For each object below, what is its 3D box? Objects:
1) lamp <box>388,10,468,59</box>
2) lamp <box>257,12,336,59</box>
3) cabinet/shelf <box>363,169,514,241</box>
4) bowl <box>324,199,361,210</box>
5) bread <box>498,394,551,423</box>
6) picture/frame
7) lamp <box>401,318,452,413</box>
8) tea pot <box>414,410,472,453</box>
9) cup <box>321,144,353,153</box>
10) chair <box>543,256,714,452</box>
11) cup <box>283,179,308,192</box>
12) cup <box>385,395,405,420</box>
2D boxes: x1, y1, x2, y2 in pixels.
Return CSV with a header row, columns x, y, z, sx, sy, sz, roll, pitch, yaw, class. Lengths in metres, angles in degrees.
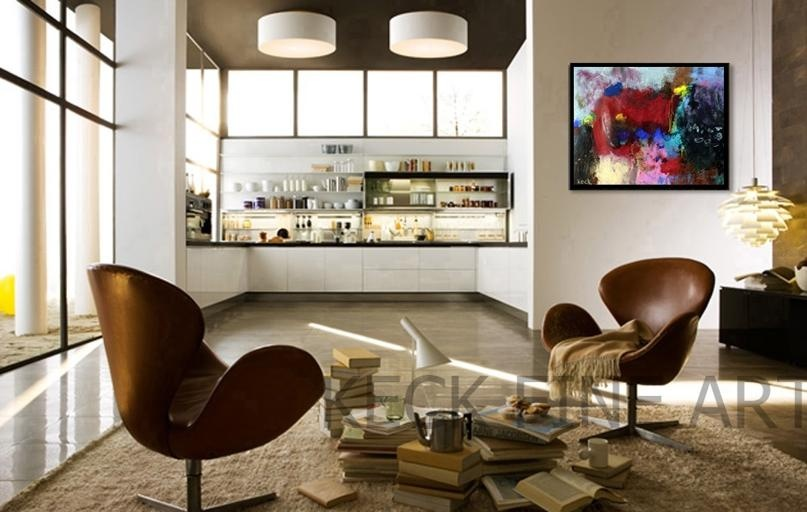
x,y,z,sx,sy,sz,roll,pitch,yaw,class
0.323,-3.066,8.567,1.106,0.369,1.114,3,5,30,lamp
-1.429,-3.003,8.324,0.753,0.251,0.745,0,2,-34,lamp
0.585,-0.917,11.298,2.670,1.229,0.631,0,4,-5,cabinet/shelf
-1.103,-0.936,11.334,0.492,0.167,0.280,0,-2,5,bowl
0.817,1.058,4.263,0.203,0.080,0.197,2,-4,-33,bread
2.873,-1.551,7.396,1.569,1.207,0.060,0,0,-4,picture/frame
0.159,0.772,4.447,0.346,0.735,0.883,0,4,1,lamp
0.257,1.143,4.044,0.357,0.195,0.222,1,-6,-1,tea pot
-1.215,-1.981,11.351,0.594,0.175,0.155,0,4,-6,cup
1.787,0.722,5.304,1.447,1.611,1.380,5,-7,-43,chair
-1.993,-1.328,11.409,0.417,0.249,0.106,-1,4,-11,cup
-0.064,1.060,4.279,0.137,0.133,0.111,-1,-3,10,cup
